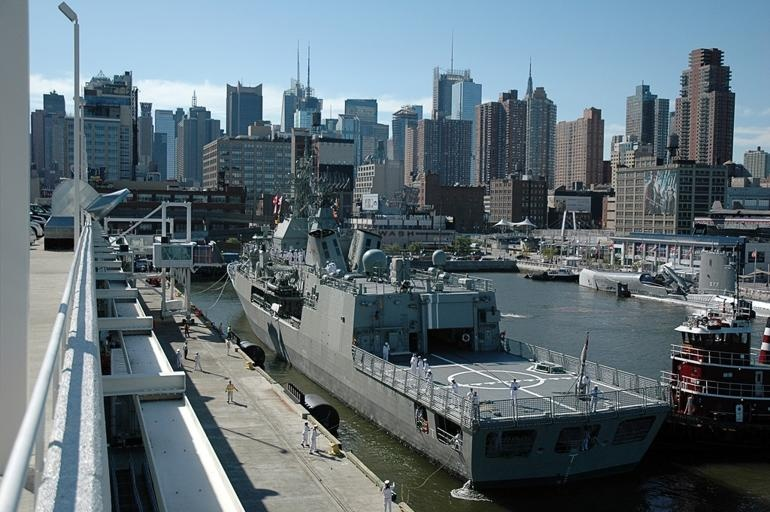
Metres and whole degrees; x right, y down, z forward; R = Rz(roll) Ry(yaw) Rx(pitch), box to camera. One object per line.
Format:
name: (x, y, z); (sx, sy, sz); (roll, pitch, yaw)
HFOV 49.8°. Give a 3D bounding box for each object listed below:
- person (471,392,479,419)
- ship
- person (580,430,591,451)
person: (3.120, 5.102, 28.538); (0.317, 0.740, 0.785); (4, 8, 6)
ship: (0.799, 3.851, 41.891); (7.286, 9.642, 29.481); (-4, 13, -28)
person: (7.157, 6.564, 29.447); (0.399, 0.829, 0.196); (-2, 9, -31)
